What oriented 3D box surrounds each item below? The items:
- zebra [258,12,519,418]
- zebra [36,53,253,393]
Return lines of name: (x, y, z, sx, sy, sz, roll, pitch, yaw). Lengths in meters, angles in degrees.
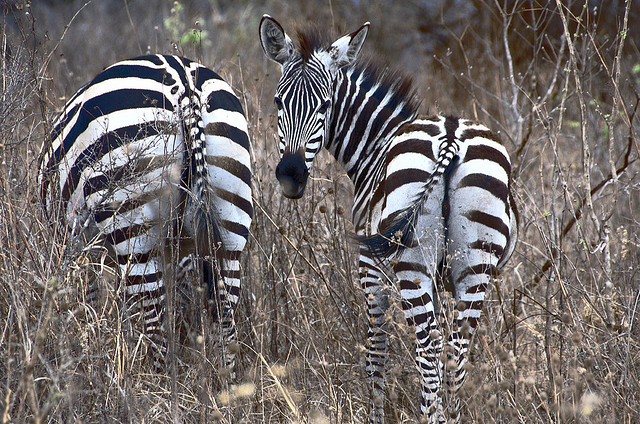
zebra: (0.655, 0.063, 7.841, 2.022, 3.614, 1.258, 2, 7, 32)
zebra: (-1.526, 0.090, 8.013, 1.805, 3.017, 1.082, -2, 6, -7)
